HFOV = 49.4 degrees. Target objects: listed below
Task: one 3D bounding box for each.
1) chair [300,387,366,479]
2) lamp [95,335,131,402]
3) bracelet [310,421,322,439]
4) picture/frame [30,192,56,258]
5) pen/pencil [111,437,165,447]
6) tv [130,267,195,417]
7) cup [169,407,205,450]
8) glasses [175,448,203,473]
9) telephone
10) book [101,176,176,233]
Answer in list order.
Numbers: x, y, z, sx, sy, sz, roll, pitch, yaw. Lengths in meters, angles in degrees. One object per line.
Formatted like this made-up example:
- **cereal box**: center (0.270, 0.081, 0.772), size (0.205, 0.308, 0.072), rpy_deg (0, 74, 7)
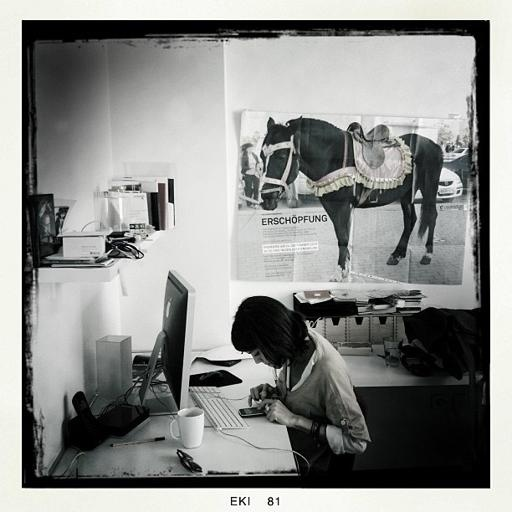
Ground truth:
- **chair**: center (0.314, 0.630, 1.993), size (0.201, 0.316, 0.288), rpy_deg (-4, -17, 26)
- **lamp**: center (-0.501, 0.391, 1.984), size (0.123, 0.223, 0.094), rpy_deg (0, 11, -17)
- **bracelet**: center (0.190, 0.555, 1.771), size (0.033, 0.065, 0.016), rpy_deg (1, -1, 1)
- **picture/frame**: center (-0.589, -0.082, 1.543), size (0.042, 0.162, 0.139), rpy_deg (0, 7, -11)
- **pen/pencil**: center (-0.350, 0.557, 1.659), size (0.083, 0.012, 0.011), rpy_deg (-3, 17, -22)
- **tv**: center (-0.306, 0.277, 1.848), size (0.135, 0.415, 0.389), rpy_deg (5, 6, -20)
- **cup**: center (-0.204, 0.507, 1.615), size (0.091, 0.106, 0.062), rpy_deg (-6, 11, -28)
- **glasses**: center (-0.188, 0.575, 1.559), size (0.037, 0.025, 0.137), rpy_deg (-4, 16, -34)
- **telephone**: center (-0.508, 0.496, 1.684), size (0.074, 0.171, 0.100), rpy_deg (-12, -3, -2)
- **book**: center (-0.433, -0.205, 2.135), size (0.117, 0.253, 0.514), rpy_deg (1, 7, 9)
